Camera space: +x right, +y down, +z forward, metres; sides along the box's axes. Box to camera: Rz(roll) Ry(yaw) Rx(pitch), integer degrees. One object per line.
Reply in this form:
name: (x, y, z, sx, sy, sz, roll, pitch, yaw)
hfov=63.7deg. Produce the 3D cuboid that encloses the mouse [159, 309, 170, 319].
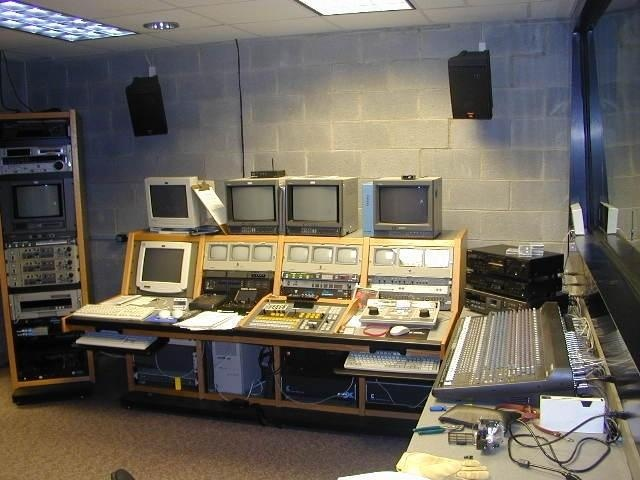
mouse: (-1.156, 0.533, 3.740, 0.077, 0.057, 0.065, -3, 20, -33)

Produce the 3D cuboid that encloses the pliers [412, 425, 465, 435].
pliers: (0.508, 0.808, 2.210, 0.200, 0.012, 0.065, -1, 9, 6)

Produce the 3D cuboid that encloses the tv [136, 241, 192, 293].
tv: (-1.266, 0.224, 4.179, 0.557, 0.378, 0.260, 0, -7, 10)

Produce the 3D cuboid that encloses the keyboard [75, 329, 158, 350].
keyboard: (-1.549, 0.759, 3.885, 0.367, 0.044, 0.220, 2, 4, 10)

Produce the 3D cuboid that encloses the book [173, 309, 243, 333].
book: (-0.792, 0.585, 3.721, 0.490, 0.075, 0.301, -1, 7, 10)

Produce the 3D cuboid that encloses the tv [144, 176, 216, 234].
tv: (-1.195, -0.297, 4.204, 0.594, 0.374, 0.502, 0, 9, 5)

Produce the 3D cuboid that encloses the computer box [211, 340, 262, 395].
computer box: (-0.665, 1.024, 4.259, 0.333, 0.398, 0.362, -8, -9, 35)

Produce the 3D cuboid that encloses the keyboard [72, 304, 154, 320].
keyboard: (-1.563, 0.548, 3.898, 0.607, 0.062, 0.235, -1, 8, 12)

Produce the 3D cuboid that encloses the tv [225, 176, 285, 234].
tv: (-0.412, -0.277, 4.218, 0.584, 0.430, 0.480, 0, 4, 10)

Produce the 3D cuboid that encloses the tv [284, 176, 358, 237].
tv: (0.092, -0.269, 4.155, 0.623, 0.443, 0.509, 1, 4, 15)

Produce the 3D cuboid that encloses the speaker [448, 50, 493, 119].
speaker: (1.201, -1.226, 4.094, 0.307, 0.510, 0.168, -1, 9, 18)

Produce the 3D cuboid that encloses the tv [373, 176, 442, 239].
tv: (0.689, -0.244, 3.944, 0.685, 0.513, 0.477, 0, 2, 17)

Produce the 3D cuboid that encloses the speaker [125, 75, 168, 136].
speaker: (-1.677, -1.281, 4.940, 0.341, 0.542, 0.211, -4, 9, -2)
